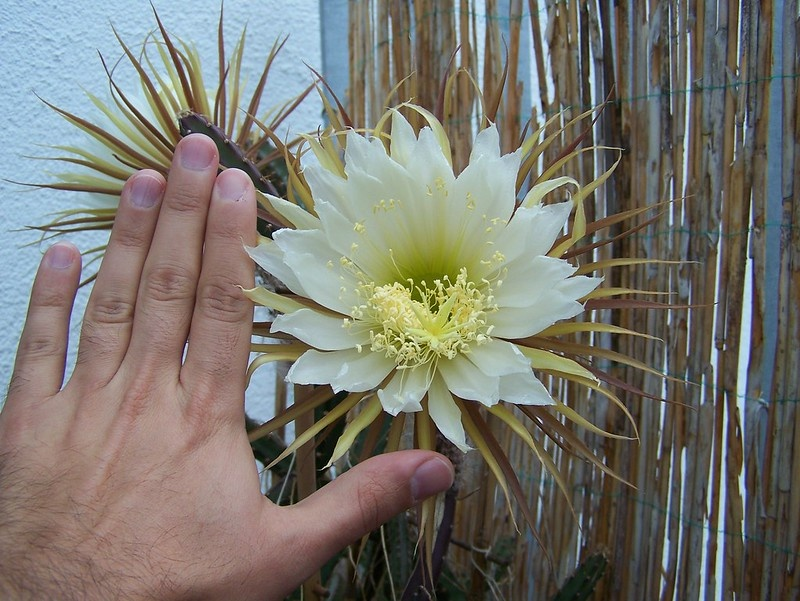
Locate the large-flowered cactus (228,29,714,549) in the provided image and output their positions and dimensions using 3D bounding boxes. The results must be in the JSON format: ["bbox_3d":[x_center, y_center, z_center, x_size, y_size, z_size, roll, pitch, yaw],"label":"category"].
[{"bbox_3d":[0.063,0.114,1.224,0.592,0.776,0.624,2,55,-5],"label":"large-flowered cactus"}]
